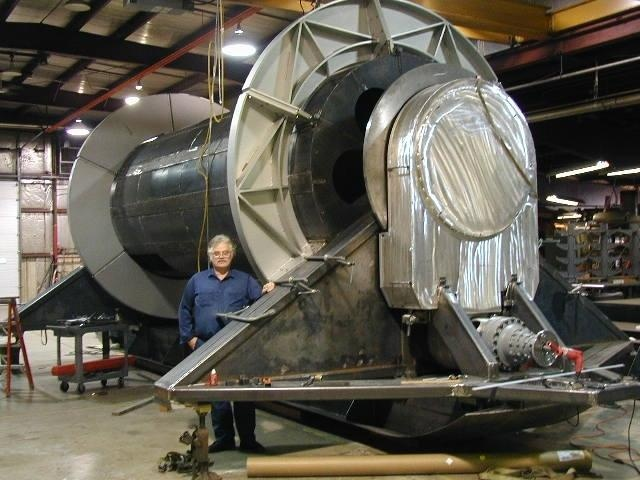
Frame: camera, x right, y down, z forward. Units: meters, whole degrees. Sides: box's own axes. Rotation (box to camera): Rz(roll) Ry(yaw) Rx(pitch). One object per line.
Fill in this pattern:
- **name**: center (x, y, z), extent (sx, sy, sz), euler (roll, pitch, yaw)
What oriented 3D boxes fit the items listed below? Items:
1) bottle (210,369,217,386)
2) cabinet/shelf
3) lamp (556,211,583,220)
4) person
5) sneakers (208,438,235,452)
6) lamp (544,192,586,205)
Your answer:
- **bottle**: center (-0.872, 1.120, 4.814), extent (0.067, 0.085, 0.114), euler (-1, 1, -12)
- **cabinet/shelf**: center (-3.412, 1.761, 8.620), extent (0.447, 0.836, 0.893), euler (-7, -7, 42)
- **lamp**: center (8.342, -0.786, 19.450), extent (0.410, 0.237, 1.577), euler (-1, 1, 8)
- **person**: center (-0.944, 1.004, 5.819), extent (0.861, 1.462, 0.489), euler (0, 0, 30)
- **sneakers**: center (-0.949, 1.999, 5.790), extent (0.304, 0.141, 0.106), euler (4, -6, -24)
- **lamp**: center (8.346, -1.371, 20.326), extent (0.677, 0.266, 1.781), euler (0, 1, 39)
